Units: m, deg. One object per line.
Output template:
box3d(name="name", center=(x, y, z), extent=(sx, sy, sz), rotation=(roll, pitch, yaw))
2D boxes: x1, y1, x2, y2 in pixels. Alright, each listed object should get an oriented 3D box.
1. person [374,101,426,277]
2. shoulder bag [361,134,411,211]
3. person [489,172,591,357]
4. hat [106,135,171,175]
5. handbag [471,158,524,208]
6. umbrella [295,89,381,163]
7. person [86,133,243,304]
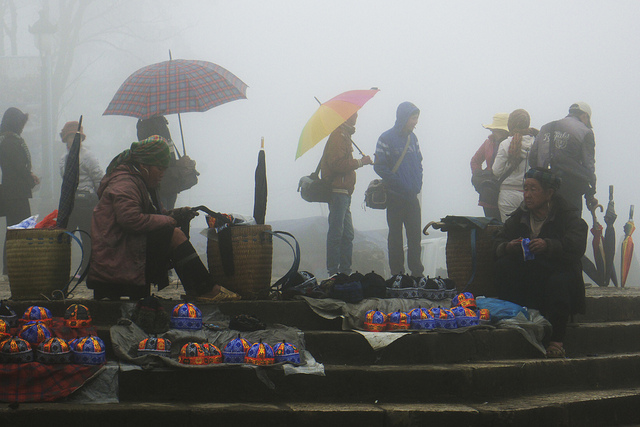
box3d(name="person", center=(1.210, -0.387, 13.680), extent=(0.789, 2.650, 0.473), rotation=(0, -1, -9))
box3d(name="shoulder bag", center=(1.017, -0.647, 13.703), extent=(0.673, 1.134, 0.301), rotation=(0, -1, -2))
box3d(name="person", center=(2.659, 0.582, 10.794), extent=(0.591, 2.184, 0.993), rotation=(1, -1, -38))
box3d(name="hat", center=(-2.163, -0.708, 10.553), extent=(0.711, 0.470, 0.216), rotation=(0, -1, -13))
box3d(name="handbag", center=(2.964, -0.391, 13.999), extent=(0.711, 0.967, 0.863), rotation=(2, -4, -36))
box3d(name="umbrella", center=(0.178, -1.290, 12.292), extent=(1.010, 0.962, 0.613), rotation=(0, -1, -4))
box3d(name="person", center=(-2.032, 0.049, 10.469), extent=(1.387, 1.944, 0.459), rotation=(0, -1, -19))
